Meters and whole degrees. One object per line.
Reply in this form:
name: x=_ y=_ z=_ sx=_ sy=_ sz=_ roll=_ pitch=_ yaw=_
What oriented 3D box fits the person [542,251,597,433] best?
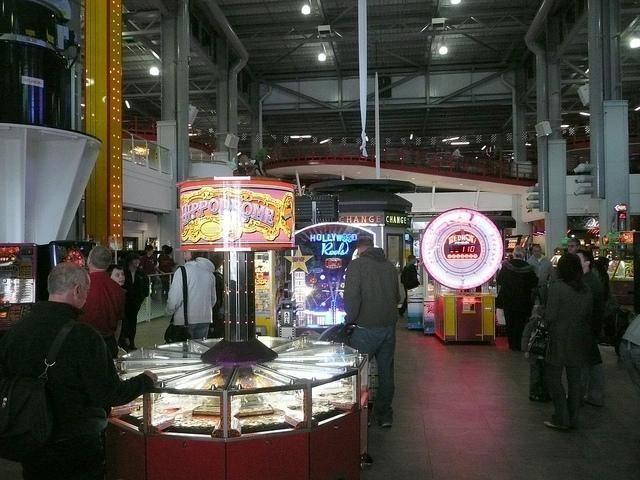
person: x=2.376 y=0.964 z=5.852 sx=0.493 sy=1.650 sz=0.333 roll=-1 pitch=5 yaw=2

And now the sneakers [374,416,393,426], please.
sneakers: x=0.611 y=1.761 z=5.919 sx=0.062 sy=0.090 sz=0.187 roll=2 pitch=-10 yaw=-38
